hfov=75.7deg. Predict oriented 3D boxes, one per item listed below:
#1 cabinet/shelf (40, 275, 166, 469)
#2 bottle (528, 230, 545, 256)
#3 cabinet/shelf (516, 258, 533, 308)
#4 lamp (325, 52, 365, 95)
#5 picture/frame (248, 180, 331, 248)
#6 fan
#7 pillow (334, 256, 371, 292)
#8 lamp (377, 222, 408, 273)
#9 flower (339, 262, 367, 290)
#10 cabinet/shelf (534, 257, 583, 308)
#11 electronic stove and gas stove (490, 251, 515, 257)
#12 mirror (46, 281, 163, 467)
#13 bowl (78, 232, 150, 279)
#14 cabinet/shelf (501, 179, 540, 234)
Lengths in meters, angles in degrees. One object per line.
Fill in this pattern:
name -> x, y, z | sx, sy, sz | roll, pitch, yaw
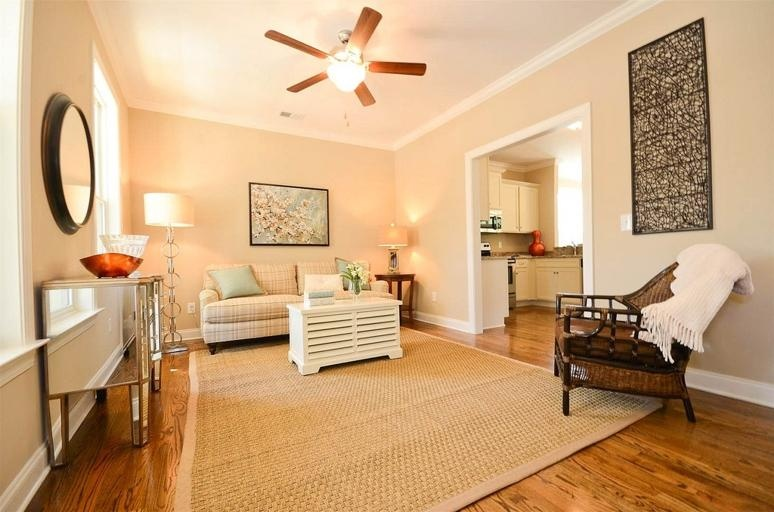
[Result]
cabinet/shelf -> -2.017, 0.832, 3.487 | 0.474, 0.946, 1.242 | -2, 1, -21
bottle -> 2.571, -0.222, 8.498 | 0.262, 0.412, 0.446 | 1, 6, 16
cabinet/shelf -> 2.195, 0.407, 7.951 | 0.424, 0.719, 0.144 | -4, 7, -28
lamp -> -0.351, -1.612, 4.348 | 0.343, 0.281, 0.233 | -2, 6, -7
picture/frame -> -1.294, -0.529, 6.374 | 0.924, 0.679, 0.031 | 0, 4, -32
fan -> -0.409, -1.731, 4.313 | 1.215, 0.585, 1.209 | -5, 6, -34
pillow -> -0.420, 0.221, 5.828 | 0.412, 0.434, 0.184 | -2, -19, -24
lamp -> 0.094, -0.088, 6.834 | 0.398, 0.657, 0.579 | -1, 6, -1
flower -> -0.380, 0.239, 5.499 | 0.311, 0.323, 0.328 | -4, -6, 34
cabinet/shelf -> 2.483, 0.365, 7.138 | 0.327, 0.751, 0.772 | 3, -4, -31
electronic stove and gas stove -> 1.948, -0.040, 8.305 | 0.385, 0.065, 0.684 | 0, 5, 13
mirror -> -2.007, 0.847, 3.495 | 0.432, 0.900, 1.194 | -2, 1, -21
bowl -> -1.988, 0.010, 3.659 | 0.329, 0.261, 0.410 | -2, -7, 4
cabinet/shelf -> 2.237, -0.824, 8.386 | 0.936, 0.800, 0.347 | -1, 5, -29
